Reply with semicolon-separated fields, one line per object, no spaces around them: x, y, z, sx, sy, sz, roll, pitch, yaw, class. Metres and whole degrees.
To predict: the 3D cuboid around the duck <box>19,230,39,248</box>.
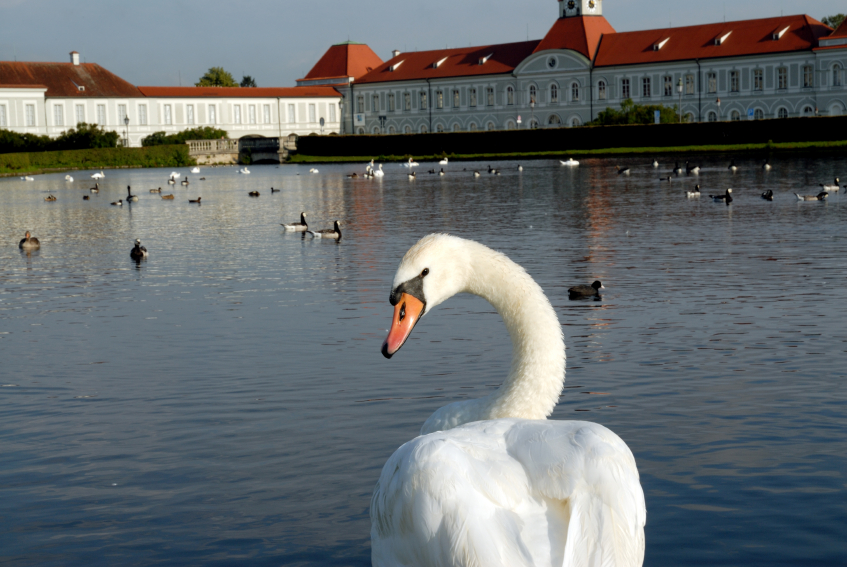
-9.473;-1.048;31.817;0.411;0.356;0.529;-10;-38;-5;duck

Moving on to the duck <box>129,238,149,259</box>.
-6.101;-0.714;28.472;0.369;0.425;0.670;-1;3;-12;duck

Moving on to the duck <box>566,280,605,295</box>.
2.696;0.087;21.867;0.472;0.275;0.246;1;-1;-9;duck
